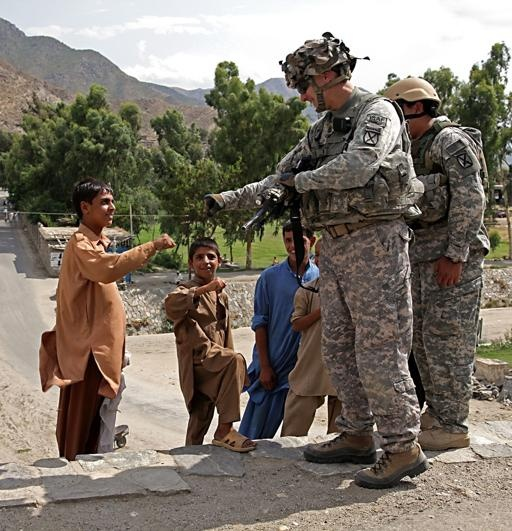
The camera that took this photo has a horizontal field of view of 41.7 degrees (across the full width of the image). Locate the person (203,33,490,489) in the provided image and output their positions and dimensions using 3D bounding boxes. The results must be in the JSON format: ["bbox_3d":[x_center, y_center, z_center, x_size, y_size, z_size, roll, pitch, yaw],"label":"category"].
[{"bbox_3d":[0.553,-0.064,4.012,1.235,2.531,0.914,7,11,25],"label":"person"}]

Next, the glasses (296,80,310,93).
[{"bbox_3d":[0.273,-1.018,3.857,0.051,0.048,0.065,-8,-18,33],"label":"glasses"}]

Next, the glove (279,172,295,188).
[{"bbox_3d":[0.177,-0.481,3.807,0.061,0.040,0.097,-34,18,-24],"label":"glove"}]

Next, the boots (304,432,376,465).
[{"bbox_3d":[0.538,1.106,4.112,0.504,0.177,0.164,3,-2,0],"label":"boots"}]

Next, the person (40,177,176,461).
[{"bbox_3d":[-1.098,0.423,4.740,0.782,2.016,0.853,0,10,-17],"label":"person"}]

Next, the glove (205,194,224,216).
[{"bbox_3d":[-0.230,-0.340,3.854,0.103,0.125,0.072,4,6,10],"label":"glove"}]

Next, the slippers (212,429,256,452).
[{"bbox_3d":[-0.130,1.100,4.236,0.252,0.088,0.107,0,-3,24],"label":"slippers"}]
